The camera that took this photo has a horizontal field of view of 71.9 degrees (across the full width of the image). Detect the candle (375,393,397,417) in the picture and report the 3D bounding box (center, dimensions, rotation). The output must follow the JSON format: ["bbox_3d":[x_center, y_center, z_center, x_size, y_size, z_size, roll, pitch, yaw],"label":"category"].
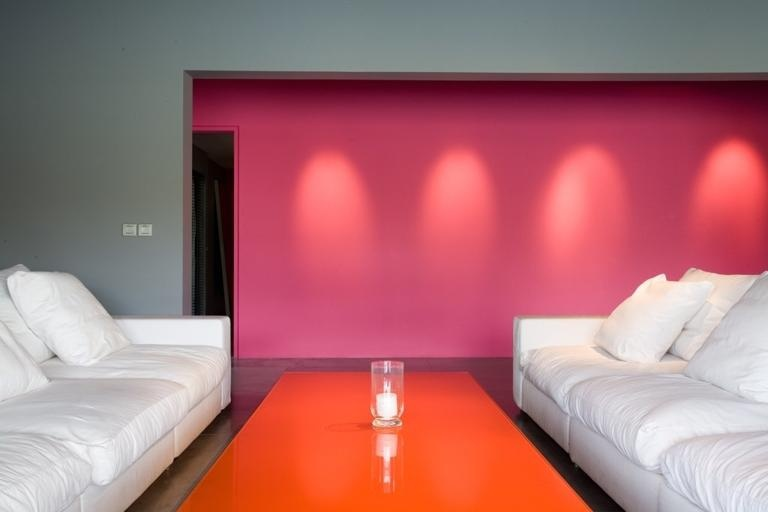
[{"bbox_3d":[0.012,0.785,2.833,0.125,0.109,0.112,1,0,-10],"label":"candle"}]
